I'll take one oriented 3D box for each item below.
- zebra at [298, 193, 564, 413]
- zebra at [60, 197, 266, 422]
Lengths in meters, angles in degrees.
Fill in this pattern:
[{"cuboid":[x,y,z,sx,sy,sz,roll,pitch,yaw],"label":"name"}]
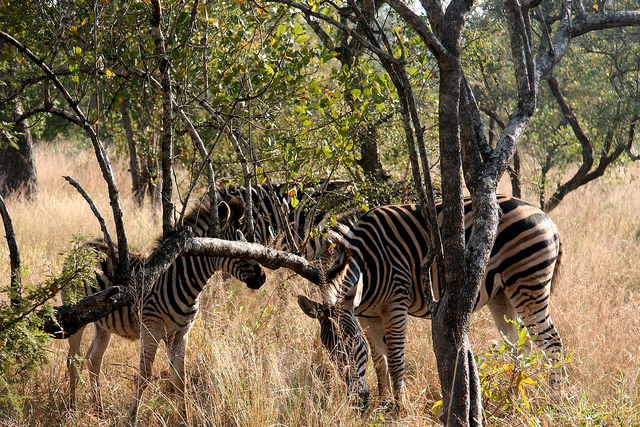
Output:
[{"cuboid":[1.420,1.178,10.563,3.212,2.844,1.254,-1,-14,-13],"label":"zebra"},{"cuboid":[-1.972,1.224,10.532,2.514,2.803,1.246,-1,-14,-13],"label":"zebra"}]
